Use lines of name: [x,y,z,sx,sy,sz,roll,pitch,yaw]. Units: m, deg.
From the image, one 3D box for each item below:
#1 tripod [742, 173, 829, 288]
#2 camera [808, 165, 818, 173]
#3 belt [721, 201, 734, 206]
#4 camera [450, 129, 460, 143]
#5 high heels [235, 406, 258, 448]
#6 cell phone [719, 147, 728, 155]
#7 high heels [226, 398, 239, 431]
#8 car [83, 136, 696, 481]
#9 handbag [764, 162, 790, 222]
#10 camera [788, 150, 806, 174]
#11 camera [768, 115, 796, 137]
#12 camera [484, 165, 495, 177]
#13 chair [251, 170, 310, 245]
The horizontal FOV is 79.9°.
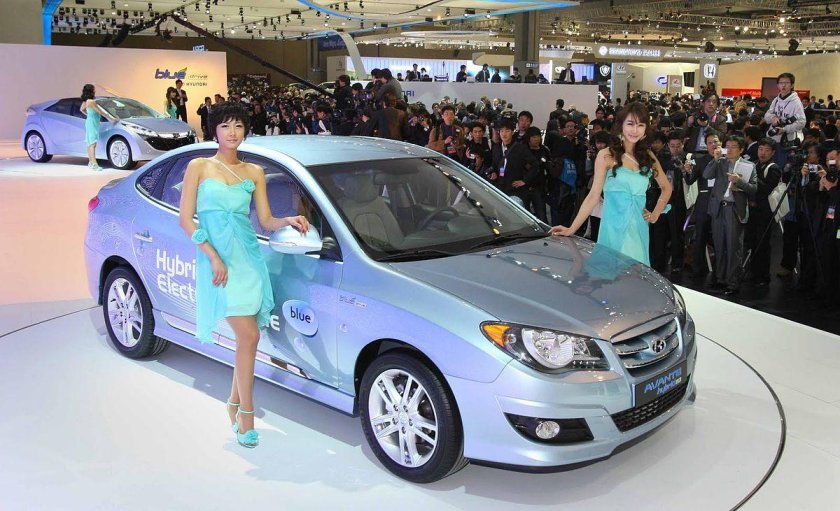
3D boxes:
tripod: [5.075,-0.381,6.962,1.118,1.594,1.081,-14,18,-21]
camera: [5.159,-1.147,6.577,0.094,0.093,0.054,5,24,17]
belt: [4.135,-0.697,6.723,0.144,0.074,0.015,9,15,23]
camera: [0.720,-2.345,9.700,0.106,0.270,0.394,-1,15,13]
high heels: [-1.318,1.286,3.773,0.124,0.143,0.350,-3,11,-31]
cell phone: [4.149,-1.431,6.861,0.106,0.116,0.162,4,9,44]
high heels: [-1.406,1.215,3.792,0.092,0.108,0.276,-8,49,-24]
car: [-0.550,0.119,4.384,5.340,2.212,2.042,11,17,30]
handbag: [5.043,-0.871,7.100,0.321,0.851,0.655,-2,18,27]
camera: [5.309,-1.319,7.044,0.192,0.413,0.248,14,7,35]
camera: [7.023,-2.562,9.757,0.118,0.356,0.355,12,29,-35]
camera: [1.139,-1.372,8.148,0.134,0.072,0.197,-4,34,16]
chair: [-1.130,-0.591,4.027,0.428,0.636,0.757,-3,41,-18]
